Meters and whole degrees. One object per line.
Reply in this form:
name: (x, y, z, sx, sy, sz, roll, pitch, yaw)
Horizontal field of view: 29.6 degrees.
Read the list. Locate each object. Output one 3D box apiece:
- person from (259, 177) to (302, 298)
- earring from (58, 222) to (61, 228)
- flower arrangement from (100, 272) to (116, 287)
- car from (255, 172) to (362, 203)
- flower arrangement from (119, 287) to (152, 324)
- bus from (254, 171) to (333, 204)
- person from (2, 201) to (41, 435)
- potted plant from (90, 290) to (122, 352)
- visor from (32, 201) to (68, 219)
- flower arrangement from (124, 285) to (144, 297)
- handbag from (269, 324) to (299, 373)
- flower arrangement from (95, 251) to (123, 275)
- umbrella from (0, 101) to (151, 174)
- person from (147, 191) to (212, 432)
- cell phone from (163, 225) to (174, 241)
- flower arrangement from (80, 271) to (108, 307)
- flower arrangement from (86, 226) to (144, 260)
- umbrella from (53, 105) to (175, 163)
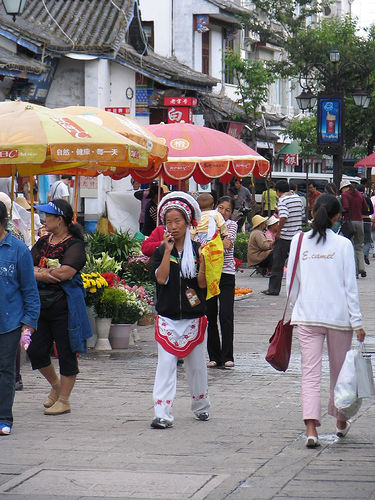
person: (1.831, -0.210, 13.899, 0.849, 2.152, 0.802, 1, 7, -43)
earring: (-1.032, -0.207, 5.736, 0.028, 0.038, 0.010, 6, 6, -9)
flower arrangement: (-0.979, 0.378, 8.830, 0.163, 0.160, 0.159, 0, -2, -32)
car: (6.183, -2.837, 35.601, 4.666, 2.038, 1.630, 2, 14, 2)
flower arrangement: (-0.655, 0.706, 8.908, 0.397, 0.312, 0.438, 2, 0, 1)
bus: (5.403, -2.957, 35.139, 4.279, 1.902, 1.498, 1, -4, -1)
person: (-1.159, 0.556, 4.941, 0.250, 1.393, 0.195, 1, -2, -15)
potted plant: (-0.979, 0.840, 8.521, 0.332, 0.714, 0.255, 0, -2, -5)
visor: (-1.090, -0.309, 5.670, 0.199, 0.059, 0.120, 17, -1, -14)
flower arrangement: (-0.684, 0.537, 9.635, 0.173, 0.111, 0.168, 6, -16, -11)
handbag: (0.650, 0.641, 4.971, 0.096, 0.274, 0.291, 9, 4, 19)
flower arrangement: (-1.035, 0.204, 9.257, 0.277, 0.297, 0.272, 2, -39, -4)
umbrella: (-1.326, -1.291, 8.157, 1.562, 0.868, 2.049, 0, -1, -4)
person: (-0.039, 0.427, 5.218, 0.476, 1.700, 0.379, 0, -2, -12)
cell phone: (-0.136, -0.126, 5.359, 0.049, 0.072, 0.202, 4, 3, -4)
flower arrangement: (-1.075, 0.455, 8.413, 0.402, 0.375, 0.396, -13, -14, 39)
flower arrangement: (-1.367, -0.099, 12.667, 0.747, 0.423, 0.670, 3, -5, -21)
umbrella: (-0.920, -1.508, 8.672, 0.993, 0.331, 1.004, 15, 4, 11)
